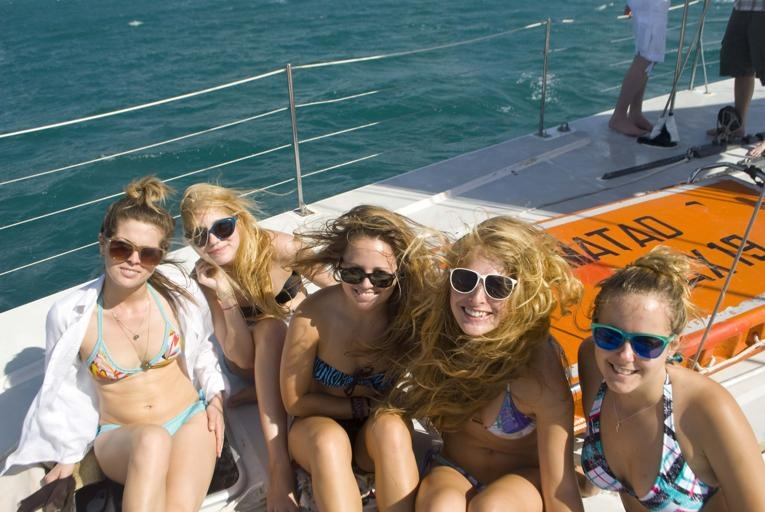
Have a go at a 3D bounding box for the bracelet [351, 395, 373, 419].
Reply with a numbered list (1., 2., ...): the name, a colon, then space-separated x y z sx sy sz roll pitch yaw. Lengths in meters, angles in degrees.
1. bracelet: -0.121 0.815 3.547 0.087 0.043 0.113 0 30 -3

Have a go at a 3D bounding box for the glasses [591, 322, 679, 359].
1. glasses: 1.144 0.387 3.020 0.353 0.136 0.099 2 25 17

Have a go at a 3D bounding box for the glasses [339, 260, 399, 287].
1. glasses: -0.106 0.102 3.458 0.337 0.148 0.166 0 24 13
